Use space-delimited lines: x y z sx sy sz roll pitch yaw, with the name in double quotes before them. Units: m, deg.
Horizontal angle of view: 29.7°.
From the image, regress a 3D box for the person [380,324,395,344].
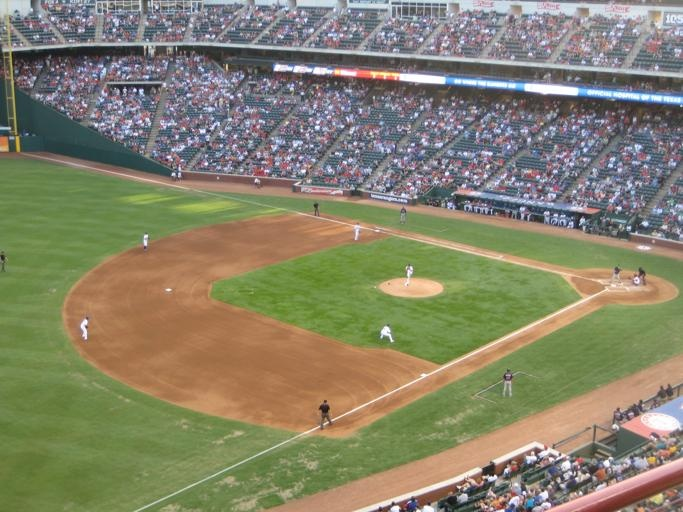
"person" 3.256 5.588 91.648 0.942 1.186 0.943 -22 31 -37
